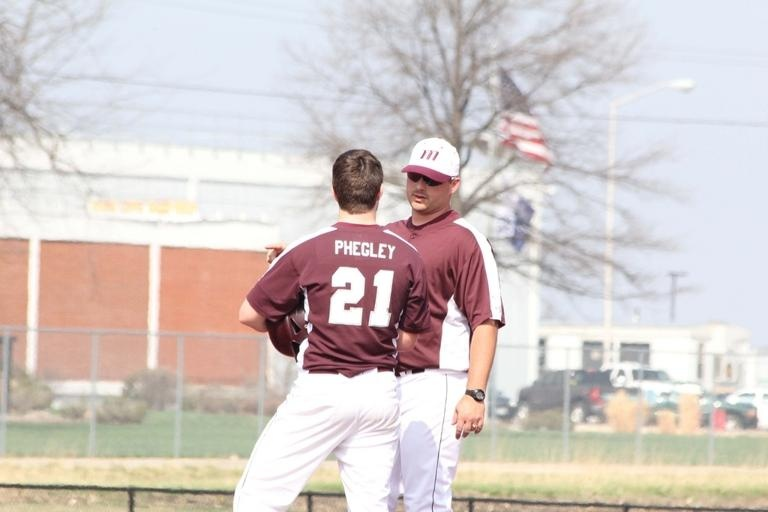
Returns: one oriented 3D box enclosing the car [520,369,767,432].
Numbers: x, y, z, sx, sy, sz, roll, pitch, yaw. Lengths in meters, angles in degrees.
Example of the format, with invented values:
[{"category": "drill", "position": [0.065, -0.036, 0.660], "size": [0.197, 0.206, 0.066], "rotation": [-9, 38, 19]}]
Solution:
[{"category": "car", "position": [4.088, 2.206, 31.144], "size": [2.944, 1.012, 1.374], "rotation": [-1, -1, 2]}]
